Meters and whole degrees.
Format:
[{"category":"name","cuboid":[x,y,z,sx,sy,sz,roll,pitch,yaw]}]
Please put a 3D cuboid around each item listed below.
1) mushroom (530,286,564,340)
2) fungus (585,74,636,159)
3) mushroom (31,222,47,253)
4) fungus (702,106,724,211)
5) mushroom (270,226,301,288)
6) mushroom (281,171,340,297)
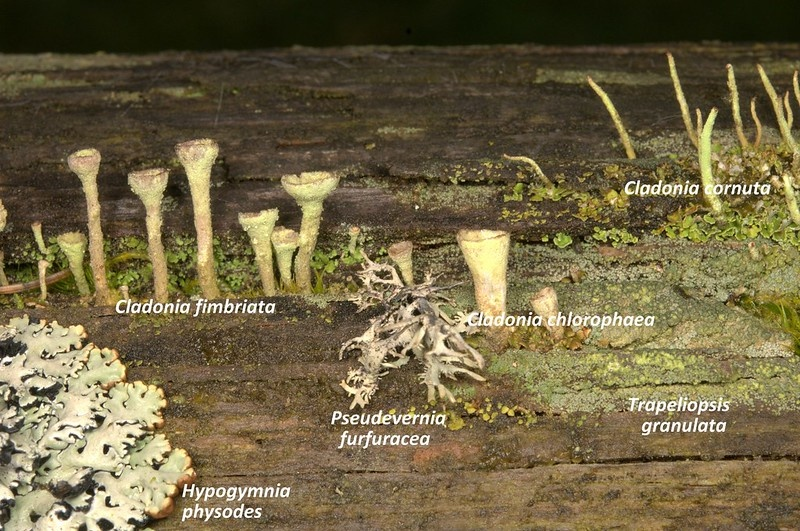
[{"category":"mushroom","cuboid":[1.324,0.457,15.592,0.263,0.508,0.233,-28,35,19]},{"category":"fungus","cuboid":[1.999,-1.339,16.228,0.441,0.881,0.436,13,-15,-4]},{"category":"mushroom","cuboid":[-3.372,-0.246,16.114,0.107,0.303,0.317,-11,8,-11]},{"category":"fungus","cuboid":[2.838,-0.967,15.900,0.220,0.935,0.211,10,-21,-20]},{"category":"mushroom","cuboid":[-1.052,-0.070,15.788,0.280,0.615,0.232,-4,55,-13]},{"category":"mushroom","cuboid":[-0.841,-0.270,15.574,0.441,1.131,0.723,-13,10,-27]}]
